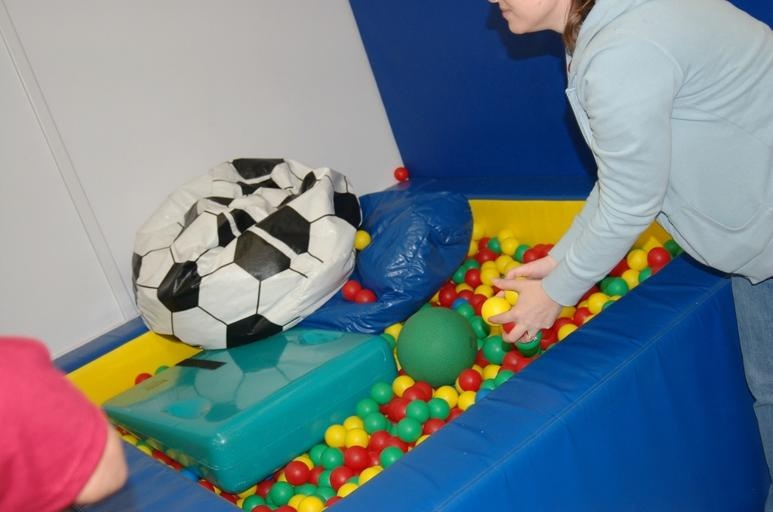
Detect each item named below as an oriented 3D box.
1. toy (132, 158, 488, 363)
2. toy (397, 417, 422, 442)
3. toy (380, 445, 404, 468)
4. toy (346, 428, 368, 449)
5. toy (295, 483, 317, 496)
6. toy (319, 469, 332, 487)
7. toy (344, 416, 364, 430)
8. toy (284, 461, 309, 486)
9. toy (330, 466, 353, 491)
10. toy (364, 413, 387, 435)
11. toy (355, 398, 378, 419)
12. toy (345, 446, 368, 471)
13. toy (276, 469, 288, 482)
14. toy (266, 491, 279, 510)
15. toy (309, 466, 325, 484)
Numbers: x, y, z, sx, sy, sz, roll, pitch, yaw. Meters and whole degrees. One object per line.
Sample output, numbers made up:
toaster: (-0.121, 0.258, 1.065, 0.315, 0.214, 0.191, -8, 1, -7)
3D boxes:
toy: (-0.368, -0.021, 2.449, 1.369, 0.524, 0.754, 1, 34, -3)
toy: (0.073, 0.569, 1.971, 0.087, 0.067, 0.067, 3, 34, 0)
toy: (0.017, 0.633, 1.891, 0.074, 0.062, 0.072, 3, 34, 1)
toy: (-0.099, 0.597, 2.008, 0.064, 0.065, 0.074, -9, 27, -17)
toy: (-0.265, 0.759, 1.951, 0.038, 0.026, 0.047, -5, 10, -21)
toy: (-0.202, 0.725, 1.957, 0.045, 0.046, 0.053, -8, 26, 4)
toy: (-0.113, 0.567, 2.038, 0.052, 0.046, 0.045, -6, 10, -18)
toy: (-0.300, 0.716, 1.985, 0.082, 0.063, 0.058, 13, 35, 15)
toy: (-0.136, 0.713, 1.938, 0.064, 0.064, 0.074, -7, 52, 23)
toy: (-0.039, 0.560, 2.022, 0.065, 0.069, 0.080, -19, 29, 5)
toy: (-0.067, 0.535, 2.097, 0.069, 0.079, 0.068, 23, 59, -30)
toy: (-0.095, 0.650, 1.936, 0.076, 0.065, 0.058, -13, 37, -22)
toy: (-0.354, 0.735, 2.016, 0.018, 0.032, 0.031, 21, 26, -41)
toy: (-0.377, 0.804, 1.963, 0.019, 0.052, 0.053, -7, 72, -39)
toy: (-0.237, 0.728, 2.003, 0.041, 0.042, 0.053, 14, 64, 27)
